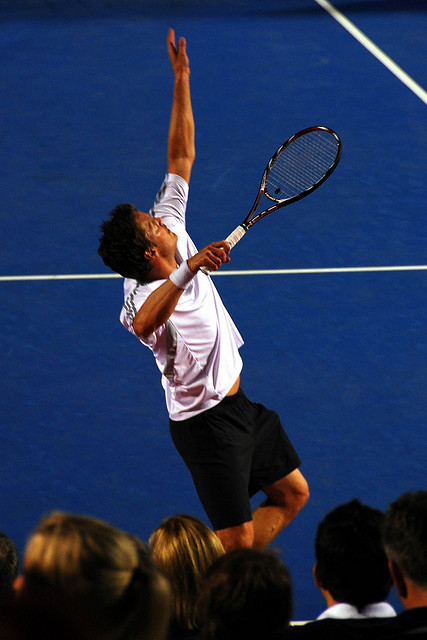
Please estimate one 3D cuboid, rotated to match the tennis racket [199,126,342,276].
[{"bbox_3d":[0.240,-0.550,3.909,0.257,1.027,0.070,49,50,1],"label":"tennis racket"}]
